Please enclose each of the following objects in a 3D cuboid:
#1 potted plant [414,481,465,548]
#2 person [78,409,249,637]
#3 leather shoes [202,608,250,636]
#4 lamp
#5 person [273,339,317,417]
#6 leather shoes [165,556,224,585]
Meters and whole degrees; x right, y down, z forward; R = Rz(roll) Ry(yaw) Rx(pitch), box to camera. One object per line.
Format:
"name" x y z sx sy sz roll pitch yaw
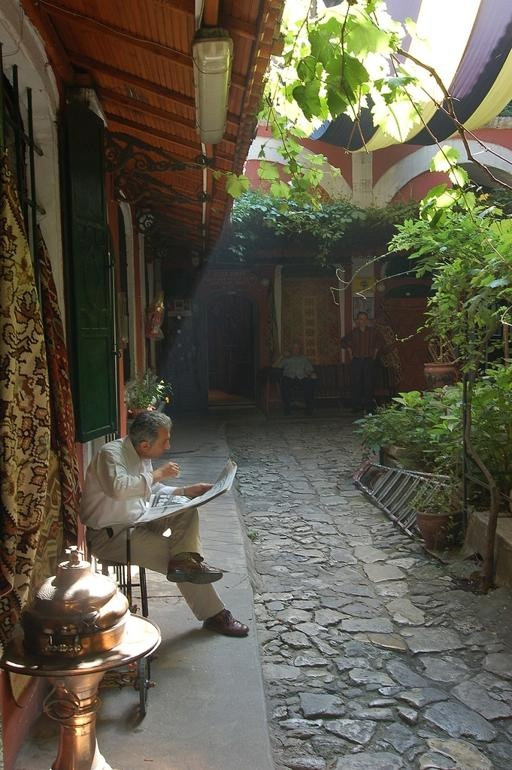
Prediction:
"potted plant" 1.726 1.219 5.266 0.389 0.656 0.571 7 1 31
"person" -0.590 0.732 3.839 1.366 1.703 0.877 0 7 0
"leather shoes" -0.171 1.398 3.348 0.284 0.125 0.108 1 1 11
"lamp" -0.205 -1.404 2.667 0.183 0.128 0.552 0 -16 -2
"person" 1.101 -0.190 14.080 0.922 1.483 0.883 5 -2 -36
"leather shoes" -0.336 1.007 3.109 0.354 0.160 0.130 -1 3 -6
